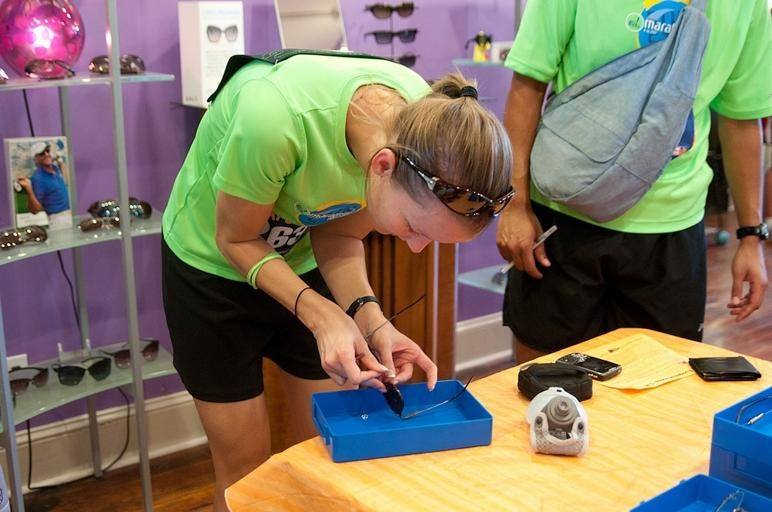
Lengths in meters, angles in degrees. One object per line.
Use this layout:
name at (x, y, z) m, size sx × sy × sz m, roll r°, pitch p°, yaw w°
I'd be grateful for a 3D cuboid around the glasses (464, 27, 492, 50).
glasses at (0.515, -1.156, 3.419) m, size 0.158 × 0.101 × 0.158 m, roll -10°, pitch 16°, yaw -16°

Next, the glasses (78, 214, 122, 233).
glasses at (-1.116, -0.127, 2.467) m, size 0.119 × 0.038 × 0.076 m, roll -5°, pitch 27°, yaw -19°

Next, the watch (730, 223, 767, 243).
watch at (1.258, -0.084, 2.195) m, size 0.079 × 0.062 × 0.089 m, roll 2°, pitch -3°, yaw 3°

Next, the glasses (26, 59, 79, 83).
glasses at (-1.212, -0.653, 2.272) m, size 0.105 × 0.045 × 0.092 m, roll 8°, pitch 12°, yaw 27°

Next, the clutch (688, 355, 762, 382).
clutch at (0.944, 0.312, 1.781) m, size 0.092 × 0.023 × 0.092 m, roll -1°, pitch 14°, yaw 5°

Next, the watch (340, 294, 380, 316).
watch at (-0.074, 0.123, 1.771) m, size 0.054 × 0.019 × 0.073 m, roll -36°, pitch 3°, yaw 44°

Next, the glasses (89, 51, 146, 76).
glasses at (-1.041, -0.730, 2.449) m, size 0.145 × 0.059 × 0.117 m, roll -6°, pitch 11°, yaw -16°

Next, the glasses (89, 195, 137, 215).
glasses at (-1.126, -0.200, 2.535) m, size 0.113 × 0.044 × 0.104 m, roll 9°, pitch 23°, yaw 33°

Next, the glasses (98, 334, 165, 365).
glasses at (-1.068, 0.389, 2.632) m, size 0.158 × 0.057 × 0.139 m, roll 3°, pitch 8°, yaw 44°

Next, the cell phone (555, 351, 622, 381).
cell phone at (0.581, 0.286, 1.795) m, size 0.076 × 0.027 × 0.130 m, roll -11°, pitch 22°, yaw -39°
